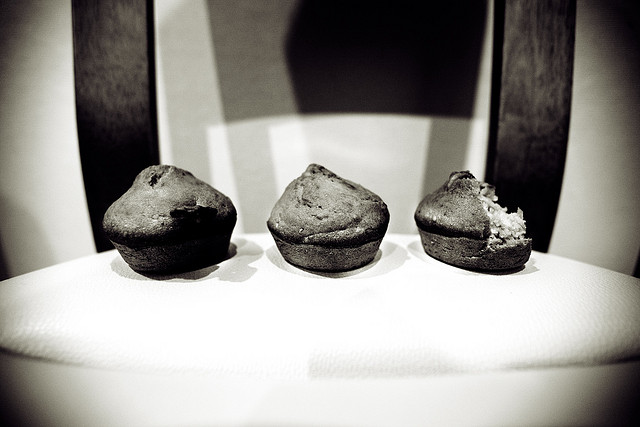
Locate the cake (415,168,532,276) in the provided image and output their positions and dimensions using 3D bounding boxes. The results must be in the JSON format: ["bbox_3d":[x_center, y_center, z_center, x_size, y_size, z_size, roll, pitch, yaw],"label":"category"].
[{"bbox_3d":[0.566,0.009,1.858,0.432,0.303,0.326,6,16,28],"label":"cake"}]

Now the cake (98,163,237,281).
[{"bbox_3d":[-0.570,0.004,1.858,0.493,0.370,0.465,-19,26,-40],"label":"cake"}]

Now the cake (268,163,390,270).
[{"bbox_3d":[0.033,-0.011,1.858,0.473,0.335,0.459,-9,26,-14],"label":"cake"}]
